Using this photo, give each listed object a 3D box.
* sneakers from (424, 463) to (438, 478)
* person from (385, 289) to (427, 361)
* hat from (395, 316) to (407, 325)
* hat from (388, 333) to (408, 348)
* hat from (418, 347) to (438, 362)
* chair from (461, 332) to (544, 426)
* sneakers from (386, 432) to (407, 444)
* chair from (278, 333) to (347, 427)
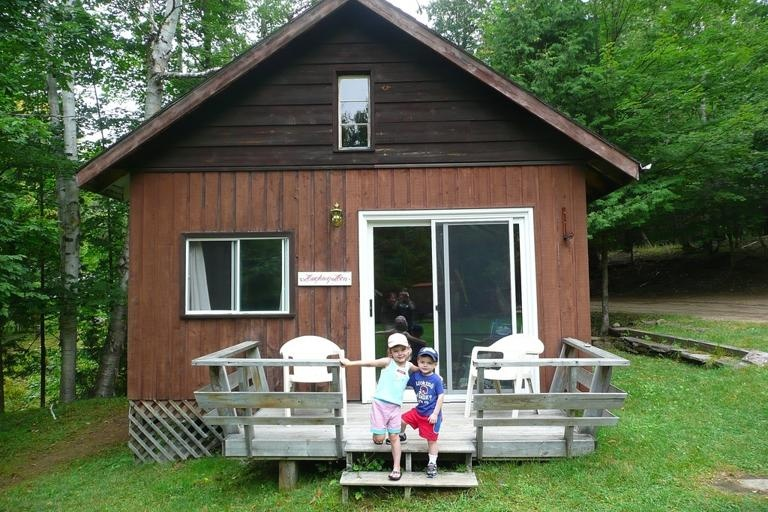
[{"bbox_3d":[0.898,4.118,13.425,0.210,0.286,0.185,-2,-3,8],"label":"sneakers"},{"bbox_3d":[0.466,1.477,15.103,0.972,1.365,0.433,-1,6,7],"label":"person"},{"bbox_3d":[0.358,1.408,15.247,0.176,0.208,0.231,3,9,5],"label":"hat"},{"bbox_3d":[0.265,1.668,13.726,0.438,0.229,0.597,-1,-4,-4],"label":"hat"},{"bbox_3d":[0.886,1.918,13.627,0.373,0.267,0.593,4,-10,7],"label":"hat"},{"bbox_3d":[2.553,2.489,14.685,1.797,1.674,1.217,-1,-3,-3],"label":"chair"},{"bbox_3d":[0.205,3.582,13.666,0.458,0.197,0.169,4,-8,-16],"label":"sneakers"},{"bbox_3d":[-1.574,2.624,14.784,1.781,2.078,1.607,0,-23,-6],"label":"chair"}]
